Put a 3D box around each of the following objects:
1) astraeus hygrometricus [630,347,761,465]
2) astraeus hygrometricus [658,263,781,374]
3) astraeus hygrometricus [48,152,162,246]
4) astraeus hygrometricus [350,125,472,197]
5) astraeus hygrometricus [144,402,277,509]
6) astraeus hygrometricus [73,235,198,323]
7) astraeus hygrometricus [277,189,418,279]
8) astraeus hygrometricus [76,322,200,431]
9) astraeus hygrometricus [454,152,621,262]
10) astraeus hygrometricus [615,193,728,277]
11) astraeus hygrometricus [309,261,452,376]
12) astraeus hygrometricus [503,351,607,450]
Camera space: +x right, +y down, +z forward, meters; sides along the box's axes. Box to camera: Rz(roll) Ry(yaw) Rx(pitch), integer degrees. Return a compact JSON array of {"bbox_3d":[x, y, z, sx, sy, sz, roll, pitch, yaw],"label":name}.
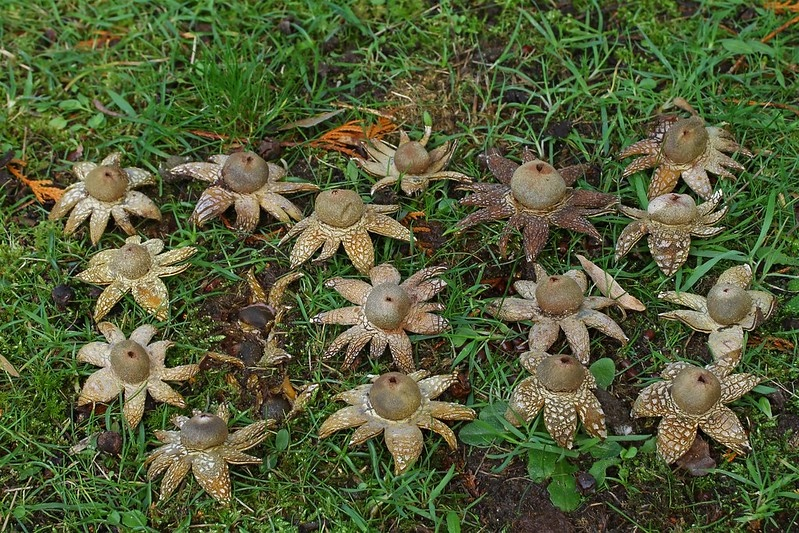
[{"bbox_3d":[1.575,0.739,4.157,0.675,0.335,0.515,-9,85,1],"label":"astraeus hygrometricus"},{"bbox_3d":[1.850,0.203,4.422,0.655,0.240,0.553,-43,47,-14],"label":"astraeus hygrometricus"},{"bbox_3d":[-1.774,-0.363,4.773,0.633,0.322,0.442,-13,84,1],"label":"astraeus hygrometricus"},{"bbox_3d":[0.066,-0.686,4.904,0.630,0.542,0.203,14,77,-5],"label":"astraeus hygrometricus"},{"bbox_3d":[-1.069,0.925,4.315,0.737,0.238,0.742,6,24,1],"label":"astraeus hygrometricus"},{"bbox_3d":[-1.554,-0.003,4.549,0.623,0.669,0.175,16,24,-41],"label":"astraeus hygrometricus"},{"bbox_3d":[-0.300,-0.217,4.573,0.567,0.207,0.584,31,61,28],"label":"astraeus hygrometricus"},{"bbox_3d":[-1.423,0.546,4.409,0.545,0.155,0.476,-32,38,16],"label":"astraeus hygrometricus"},{"bbox_3d":[0.792,-0.368,4.635,0.721,0.243,0.707,-36,59,-23],"label":"astraeus hygrometricus"},{"bbox_3d":[1.553,-0.219,4.577,0.525,0.178,0.535,32,62,28],"label":"astraeus hygrometricus"},{"bbox_3d":[-0.081,0.273,4.421,0.608,0.226,0.609,8,61,5],"label":"astraeus hygrometricus"},{"bbox_3d":[0.855,0.640,4.248,0.568,0.241,0.489,32,32,16],"label":"astraeus hygrometricus"}]
